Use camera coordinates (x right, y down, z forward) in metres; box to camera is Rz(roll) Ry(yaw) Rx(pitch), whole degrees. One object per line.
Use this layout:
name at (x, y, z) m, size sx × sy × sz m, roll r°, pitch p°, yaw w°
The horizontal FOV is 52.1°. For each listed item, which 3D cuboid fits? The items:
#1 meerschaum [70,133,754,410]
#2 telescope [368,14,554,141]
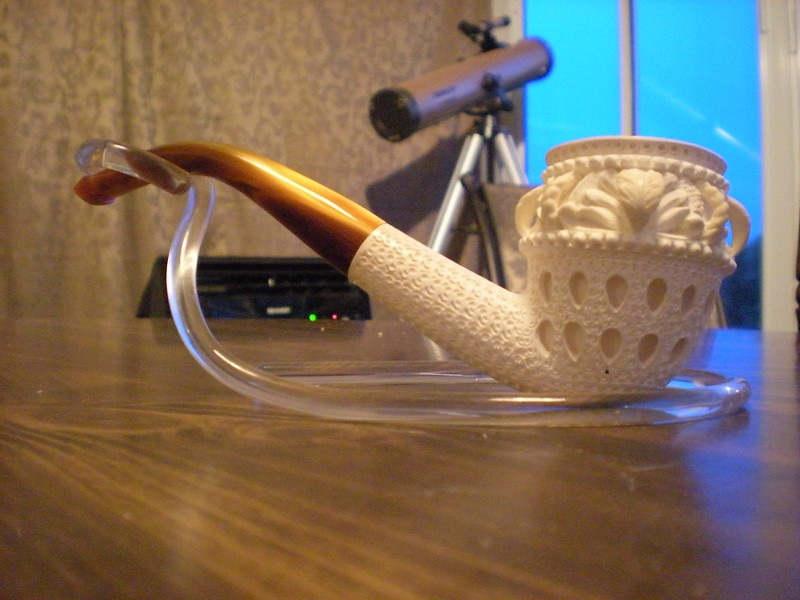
meerschaum at (0.007, -0.016, 0.675) m, size 0.469 × 0.187 × 0.205 m, roll 0°, pitch -4°, yaw -1°
telescope at (0.156, -0.515, 1.948) m, size 0.186 × 0.244 × 0.576 m, roll 8°, pitch 2°, yaw 38°
